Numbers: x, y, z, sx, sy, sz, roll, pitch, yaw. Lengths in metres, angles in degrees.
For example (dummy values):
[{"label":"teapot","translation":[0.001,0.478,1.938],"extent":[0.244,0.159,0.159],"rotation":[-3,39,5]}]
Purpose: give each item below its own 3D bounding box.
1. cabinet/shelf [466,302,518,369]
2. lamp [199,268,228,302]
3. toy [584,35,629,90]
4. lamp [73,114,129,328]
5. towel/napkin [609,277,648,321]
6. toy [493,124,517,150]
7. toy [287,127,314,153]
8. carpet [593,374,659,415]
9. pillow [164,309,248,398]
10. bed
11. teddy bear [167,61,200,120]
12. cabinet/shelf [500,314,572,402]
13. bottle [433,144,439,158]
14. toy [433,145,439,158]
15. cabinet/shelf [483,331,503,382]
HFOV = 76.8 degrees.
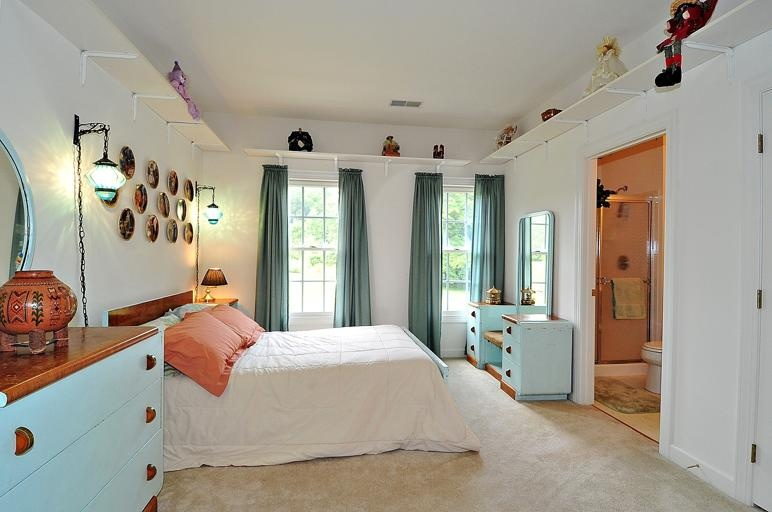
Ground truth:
[{"label":"cabinet/shelf","translation":[1.375,1.035,6.325],"extent":[0.515,0.776,0.793],"rotation":[1,-3,1]},{"label":"lamp","translation":[-2.004,0.355,5.717],"extent":[0.304,0.350,0.282],"rotation":[0,4,-42]},{"label":"toy","translation":[1.969,-1.656,4.311],"extent":[0.308,0.468,0.299],"rotation":[3,13,17]},{"label":"lamp","translation":[-2.358,-0.281,3.994],"extent":[0.416,1.649,0.513],"rotation":[-8,15,-32]},{"label":"towel/napkin","translation":[2.870,0.521,5.802],"extent":[0.491,0.600,0.116],"rotation":[0,-4,-5]},{"label":"toy","translation":[1.522,-1.414,6.037],"extent":[0.093,0.238,0.312],"rotation":[9,-49,-38]},{"label":"toy","translation":[-1.037,-1.330,5.965],"extent":[0.283,0.368,0.275],"rotation":[-1,-2,41]},{"label":"carpet","translation":[2.559,1.494,5.179],"extent":[0.620,0.099,0.935],"rotation":[5,13,25]},{"label":"pillow","translation":[-1.592,0.851,4.214],"extent":[0.562,0.481,0.682],"rotation":[-2,12,-8]},{"label":"bed","translation":[-0.624,0.827,4.364],"extent":[2.035,0.767,1.660],"rotation":[-1,2,-10]},{"label":"teddy bear","translation":[-1.907,-1.526,4.578],"extent":[0.196,0.502,0.570],"rotation":[-3,12,-11]},{"label":"cabinet/shelf","translation":[1.652,1.129,5.428],"extent":[0.599,0.814,0.821],"rotation":[1,-4,4]},{"label":"bottle","translation":[0.647,-1.317,6.297],"extent":[0.056,0.185,0.072],"rotation":[0,1,2]},{"label":"toy","translation":[0.648,-1.309,6.295],"extent":[0.054,0.182,0.070],"rotation":[0,3,1]},{"label":"cabinet/shelf","translation":[1.283,1.207,5.873],"extent":[0.298,0.534,0.548],"rotation":[0,-1,0]}]
